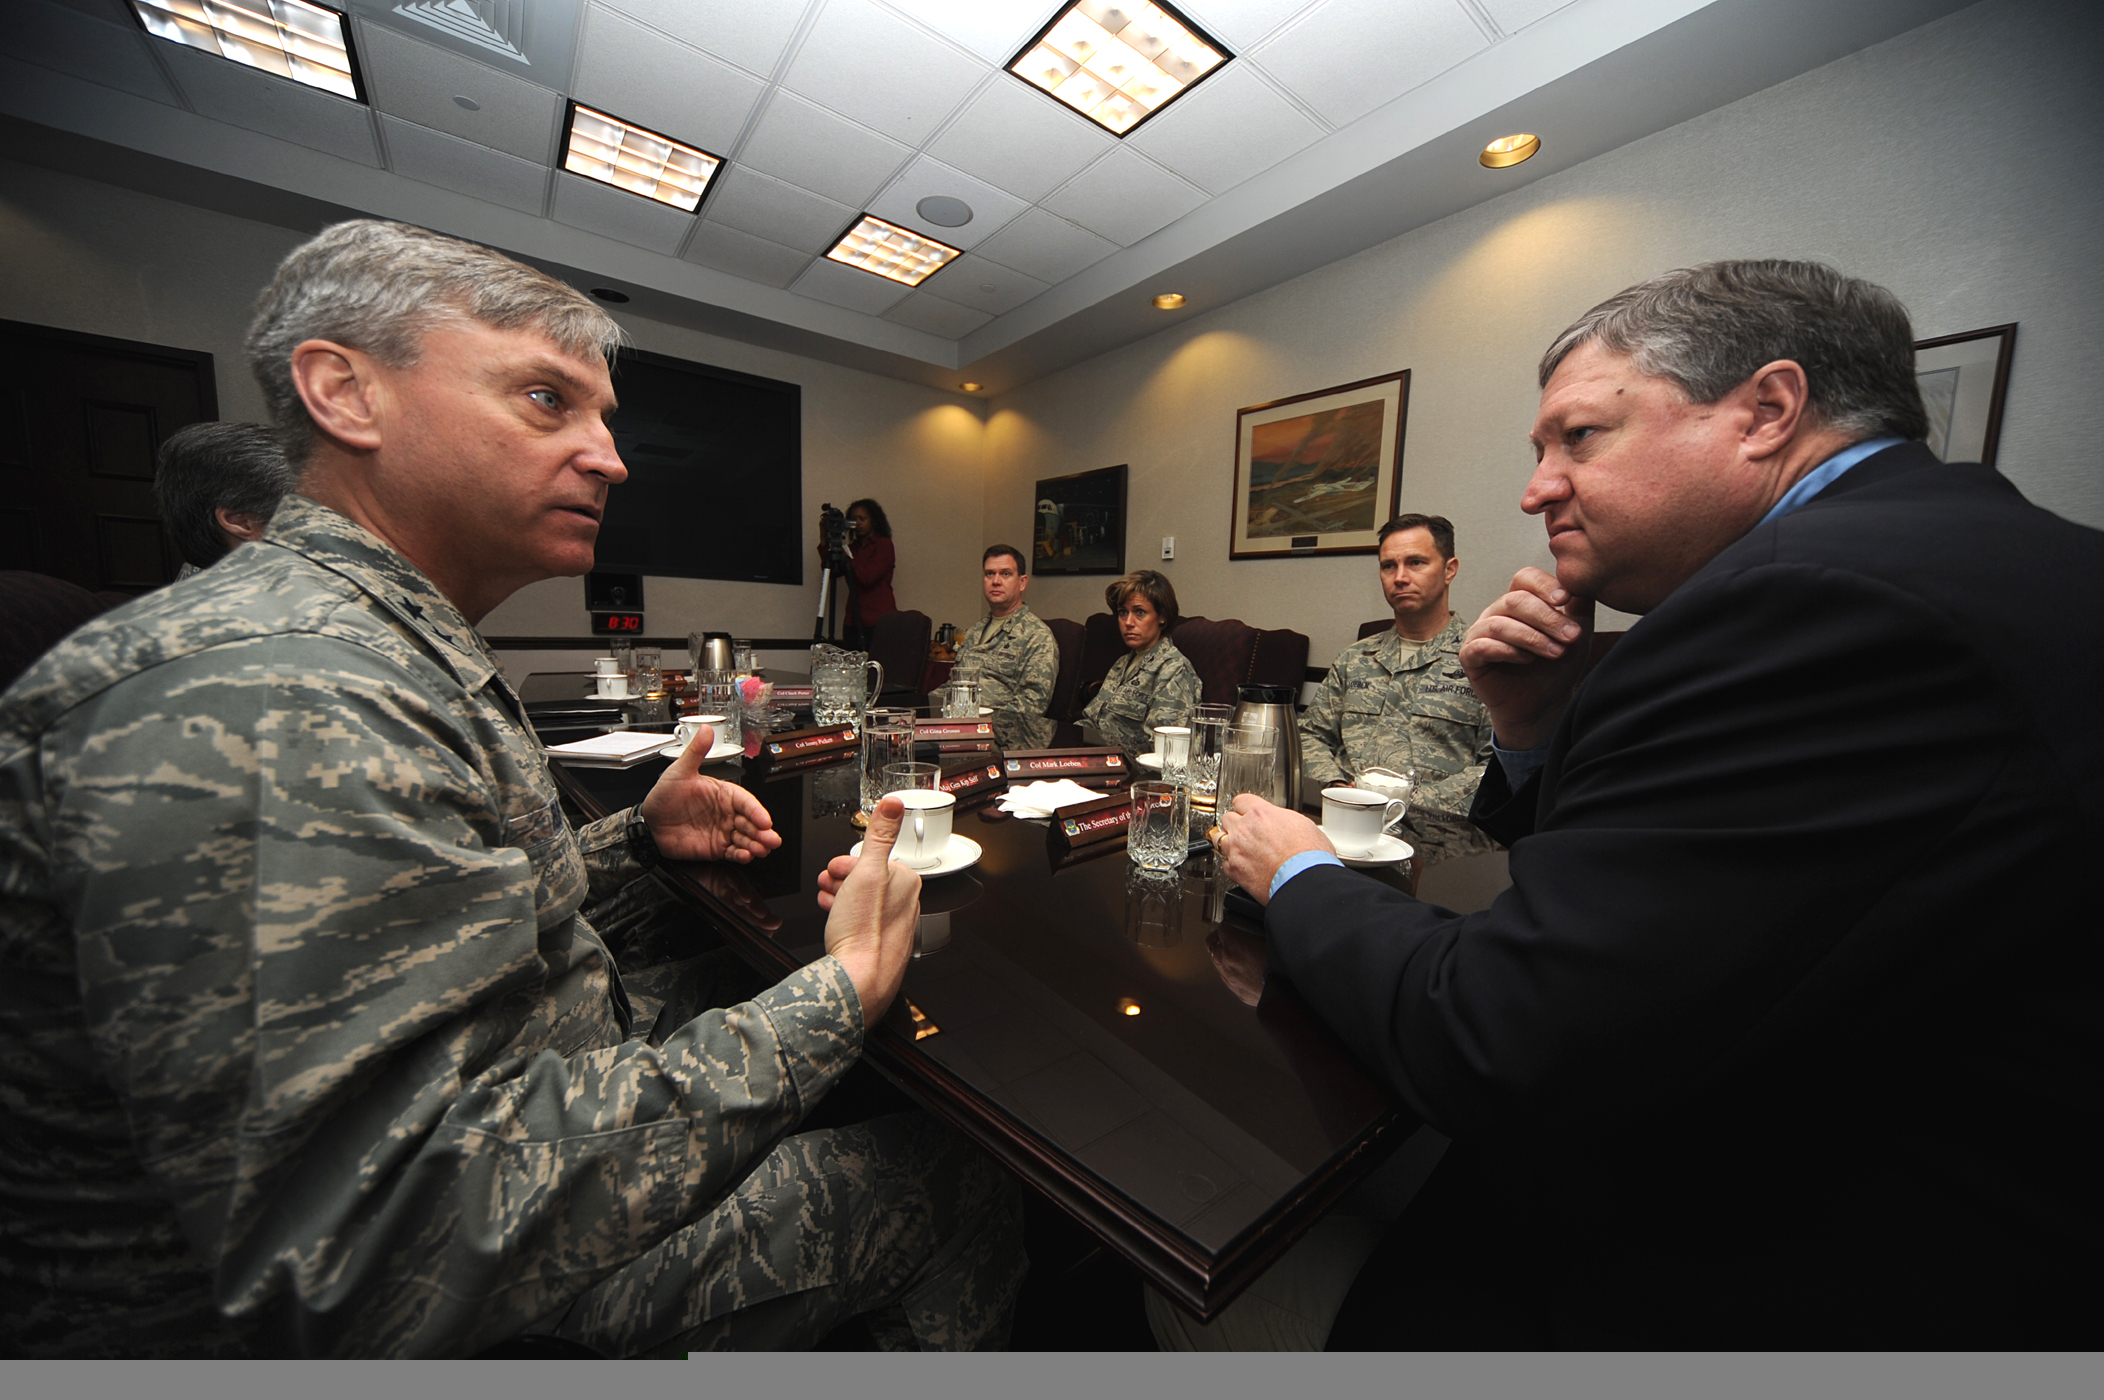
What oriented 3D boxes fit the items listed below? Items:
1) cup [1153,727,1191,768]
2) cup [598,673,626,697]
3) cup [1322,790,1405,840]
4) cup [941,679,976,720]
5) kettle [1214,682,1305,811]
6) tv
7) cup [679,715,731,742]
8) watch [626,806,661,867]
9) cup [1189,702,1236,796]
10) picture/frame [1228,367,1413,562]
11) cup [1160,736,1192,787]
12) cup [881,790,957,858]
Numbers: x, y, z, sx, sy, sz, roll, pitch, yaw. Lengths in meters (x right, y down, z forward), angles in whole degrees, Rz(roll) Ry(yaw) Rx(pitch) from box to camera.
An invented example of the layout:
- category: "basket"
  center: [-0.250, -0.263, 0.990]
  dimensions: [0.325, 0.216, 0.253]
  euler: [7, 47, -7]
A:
- category: "cup"
  center: [0.279, 0.120, 2.893]
  dimensions: [0.075, 0.089, 0.089]
  euler: [0, 0, -31]
- category: "cup"
  center: [-1.423, -0.043, 3.880]
  dimensions: [0.074, 0.056, 0.085]
  euler: [-4, -14, 11]
- category: "cup"
  center: [0.614, 0.214, 2.381]
  dimensions: [0.134, 0.086, 0.105]
  euler: [4, 4, 10]
- category: "cup"
  center: [-0.267, -0.001, 3.589]
  dimensions: [0.129, 0.124, 0.083]
  euler: [0, 1, -1]
- category: "kettle"
  center: [0.440, 0.093, 2.663]
  dimensions: [0.224, 0.369, 0.234]
  euler: [5, 3, 13]
- category: "tv"
  center: [-1.749, -1.240, 6.405]
  dimensions: [1.266, 1.058, 0.123]
  euler: [14, 20, 26]
- category: "cup"
  center: [-0.828, 0.065, 2.878]
  dimensions: [0.083, 0.057, 0.062]
  euler: [0, 11, 2]
- category: "watch"
  center: [-0.824, 0.274, 2.418]
  dimensions: [0.041, 0.098, 0.074]
  euler: [-11, 2, -20]
- category: "cup"
  center: [0.332, 0.118, 2.758]
  dimensions: [0.136, 0.214, 0.131]
  euler: [5, 2, 0]
- category: "picture/frame"
  center: [1.094, -0.955, 5.067]
  dimensions: [0.036, 0.727, 0.932]
  euler: [3, 3, -36]
- category: "cup"
  center: [0.293, 0.130, 2.839]
  dimensions: [0.089, 0.095, 0.088]
  euler: [1, -10, 0]
- category: "cup"
  center: [-0.250, 0.228, 2.308]
  dimensions: [0.133, 0.096, 0.124]
  euler: [1, 3, 0]
